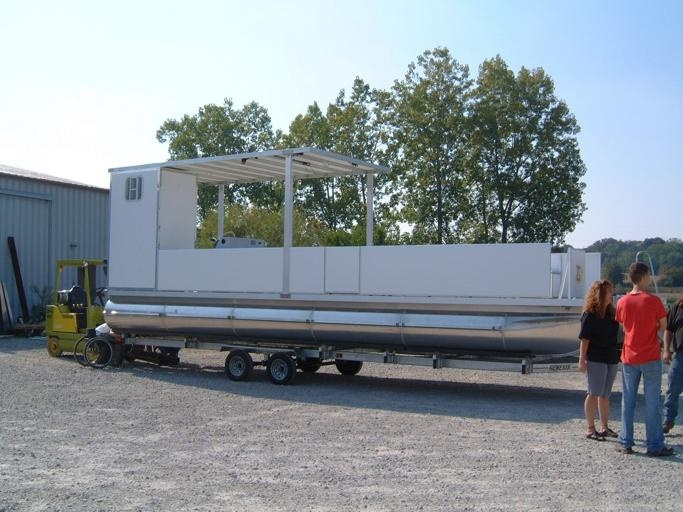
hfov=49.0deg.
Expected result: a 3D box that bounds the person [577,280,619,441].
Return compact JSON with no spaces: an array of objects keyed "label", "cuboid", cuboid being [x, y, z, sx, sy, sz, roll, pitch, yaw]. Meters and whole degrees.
[{"label":"person","cuboid":[3.639,1.454,10.597,0.539,2.234,0.568,-2,6,19]}]

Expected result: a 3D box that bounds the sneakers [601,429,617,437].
[{"label":"sneakers","cuboid":[3.760,2.483,10.556,0.268,0.122,0.096,-2,-7,7]}]

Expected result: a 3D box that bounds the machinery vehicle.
[{"label":"machinery vehicle","cuboid":[-5.501,1.136,17.720,3.304,2.192,1.254,-2,0,32]}]

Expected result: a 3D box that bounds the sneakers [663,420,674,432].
[{"label":"sneakers","cuboid":[4.712,2.455,10.830,0.139,0.123,0.236,-6,-9,5]}]

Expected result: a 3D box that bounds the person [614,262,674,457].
[{"label":"person","cuboid":[4.044,1.371,10.071,0.671,2.541,0.875,-2,6,23]}]

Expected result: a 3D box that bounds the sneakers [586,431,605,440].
[{"label":"sneakers","cuboid":[3.572,2.513,10.526,0.107,0.083,0.194,4,-11,-38]}]
